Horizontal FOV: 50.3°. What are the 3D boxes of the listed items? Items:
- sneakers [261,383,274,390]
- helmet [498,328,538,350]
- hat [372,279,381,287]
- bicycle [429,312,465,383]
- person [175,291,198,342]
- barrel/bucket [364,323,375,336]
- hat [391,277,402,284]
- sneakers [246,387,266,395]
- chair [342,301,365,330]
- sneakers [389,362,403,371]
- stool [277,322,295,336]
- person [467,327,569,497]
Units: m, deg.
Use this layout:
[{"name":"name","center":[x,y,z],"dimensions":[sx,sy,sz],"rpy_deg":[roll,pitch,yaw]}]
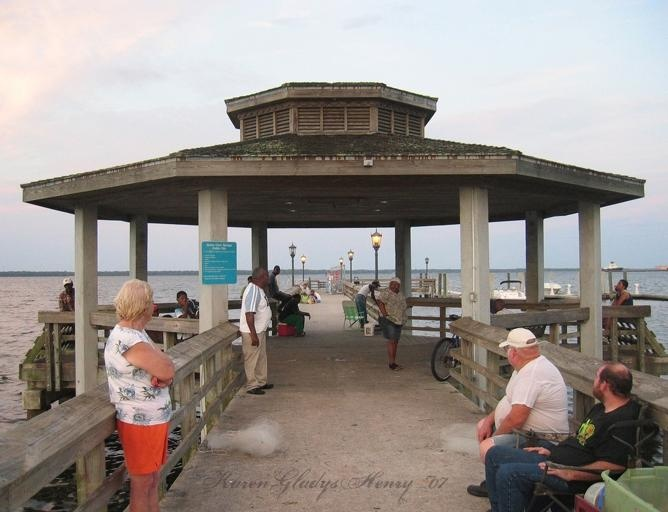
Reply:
[{"name":"sneakers","center":[-1.035,2.050,11.238],"dimensions":[0.194,0.090,0.066],"rpy_deg":[-4,9,-35]},{"name":"helmet","center":[1.951,0.870,7.510],"dimensions":[0.221,0.171,0.289],"rpy_deg":[1,0,-27]},{"name":"hat","center":[0.992,0.620,16.275],"dimensions":[0.169,0.243,0.243],"rpy_deg":[0,-16,-1]},{"name":"bicycle","center":[1.994,1.714,12.863],"dimensions":[0.651,0.935,1.482],"rpy_deg":[4,-10,13]},{"name":"person","center":[-2.847,0.968,13.851],"dimensions":[0.408,0.802,1.454],"rpy_deg":[-7,2,-13]},{"name":"barrel/bucket","center":[0.885,1.838,17.766],"dimensions":[0.233,0.310,0.433],"rpy_deg":[-1,-1,3]},{"name":"hat","center":[1.089,0.430,12.381],"dimensions":[0.120,0.091,0.124],"rpy_deg":[1,2,-19]},{"name":"sneakers","center":[-1.188,2.072,10.913],"dimensions":[0.207,0.098,0.115],"rpy_deg":[1,1,1]},{"name":"chair","center":[0.737,1.648,20.188],"dimensions":[0.567,0.969,0.631],"rpy_deg":[1,-6,-19]},{"name":"sneakers","center":[1.090,1.977,12.665],"dimensions":[0.107,0.095,0.221],"rpy_deg":[1,-7,-29]},{"name":"stool","center":[-1.204,1.857,18.016],"dimensions":[0.316,0.218,0.319],"rpy_deg":[5,-11,-32]},{"name":"person","center":[1.965,1.748,7.610],"dimensions":[1.026,1.910,0.910],"rpy_deg":[-1,-1,17]}]
